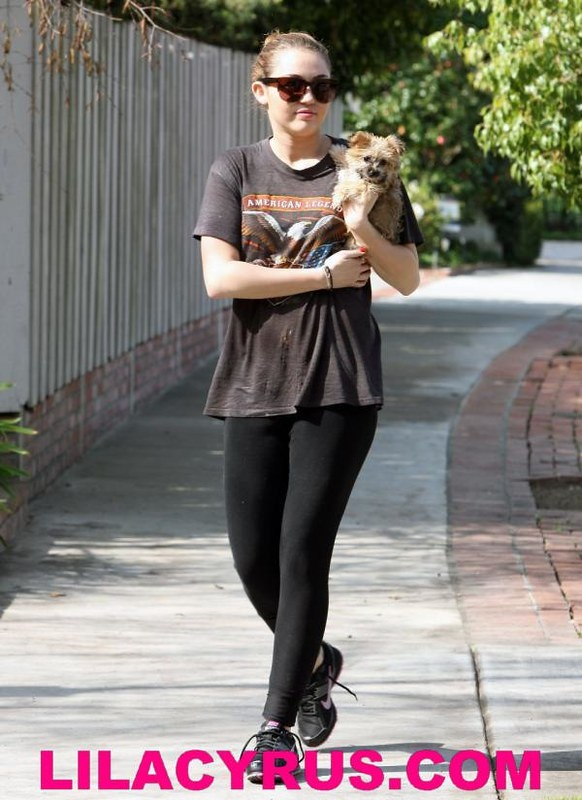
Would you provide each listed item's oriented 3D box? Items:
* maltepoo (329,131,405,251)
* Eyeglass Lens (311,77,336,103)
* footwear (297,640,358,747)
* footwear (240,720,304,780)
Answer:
[{"bbox_3d":[0.187,-0.528,2.920,0.186,0.277,0.165,3,-8,-8],"label":"maltepoo"},{"bbox_3d":[0.076,-0.770,2.943,0.078,0.066,0.029,1,-29,-12],"label":"Eyeglass Lens"},{"bbox_3d":[0.075,0.774,3.158,0.121,0.263,0.131,16,-8,2],"label":"footwear"},{"bbox_3d":[-0.053,0.852,2.917,0.131,0.106,0.256,-5,-10,18],"label":"footwear"}]
